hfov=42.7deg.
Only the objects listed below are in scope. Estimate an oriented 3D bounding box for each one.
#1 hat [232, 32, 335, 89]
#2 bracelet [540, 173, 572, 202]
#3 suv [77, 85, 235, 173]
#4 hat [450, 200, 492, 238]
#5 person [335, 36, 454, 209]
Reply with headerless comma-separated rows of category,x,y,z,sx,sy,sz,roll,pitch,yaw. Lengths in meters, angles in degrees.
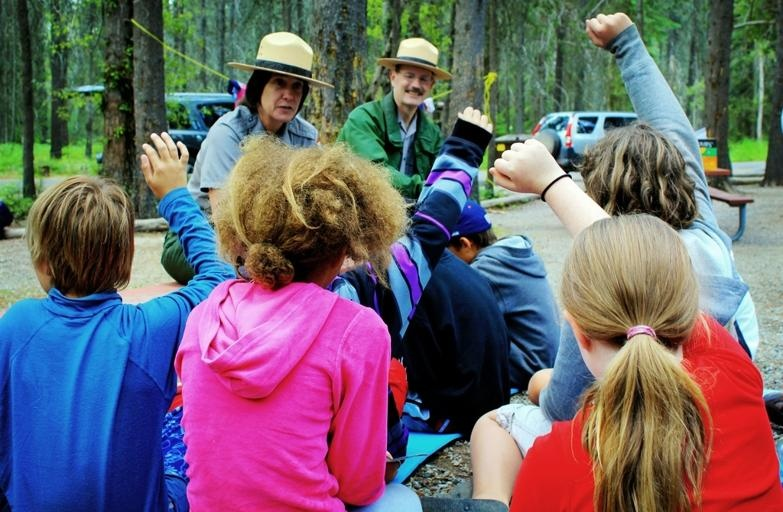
hat,-0.902,-1.778,9.043,0.603,0.239,0.600,17,-2,-22
bracelet,1.143,-0.458,7.007,0.053,0.203,0.196,36,-31,-1
suv,-4.728,-2.155,17.542,3.599,1.630,1.762,-2,8,-4
hat,0.686,-0.289,8.478,0.360,0.288,0.258,-29,12,7
person,0.093,-1.253,9.827,1.140,1.737,0.997,2,4,-31
